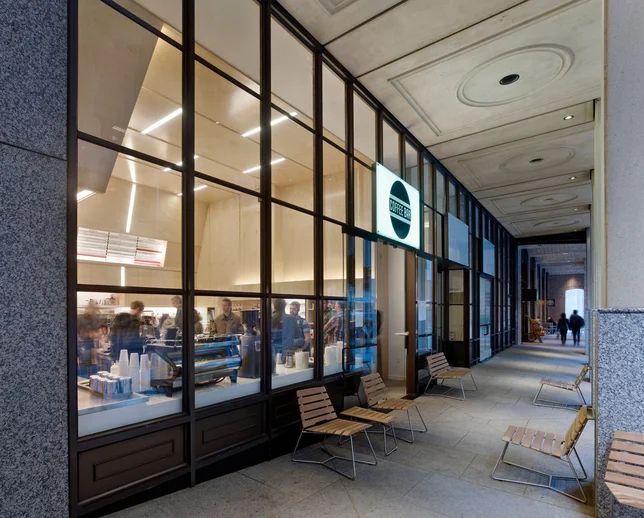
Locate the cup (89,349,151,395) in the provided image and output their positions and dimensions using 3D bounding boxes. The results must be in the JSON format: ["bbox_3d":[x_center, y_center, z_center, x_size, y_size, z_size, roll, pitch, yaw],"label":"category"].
[{"bbox_3d":[-1.827,1.011,4.225,0.371,0.406,0.408,-1,-4,21],"label":"cup"}]

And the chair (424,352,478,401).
[{"bbox_3d":[2.355,2.103,8.457,0.700,0.701,1.084,-5,-8,31],"label":"chair"}]

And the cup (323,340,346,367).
[{"bbox_3d":[0.171,1.314,6.399,0.384,0.397,0.211,-2,-4,26],"label":"cup"}]

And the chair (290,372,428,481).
[{"bbox_3d":[0.384,1.938,5.738,1.083,0.762,1.592,0,-3,36],"label":"chair"}]

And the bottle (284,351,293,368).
[{"bbox_3d":[-0.398,1.233,5.755,0.169,0.174,0.162,1,0,8],"label":"bottle"}]

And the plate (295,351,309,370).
[{"bbox_3d":[-0.257,1.276,5.973,0.202,0.231,0.207,0,-2,-13],"label":"plate"}]
